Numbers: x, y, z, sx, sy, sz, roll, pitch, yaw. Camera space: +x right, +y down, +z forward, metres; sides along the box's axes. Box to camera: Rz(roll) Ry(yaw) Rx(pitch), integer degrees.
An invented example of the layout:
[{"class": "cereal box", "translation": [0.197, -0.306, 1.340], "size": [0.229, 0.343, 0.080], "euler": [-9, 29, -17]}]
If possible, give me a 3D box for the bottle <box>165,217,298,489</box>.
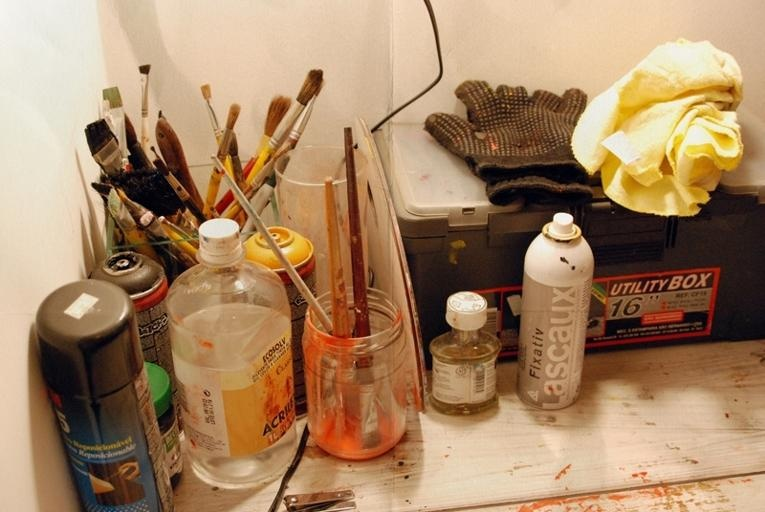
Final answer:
[{"class": "bottle", "translation": [-0.204, 0.169, 0.874], "size": [0.169, 0.305, 0.133], "euler": [-8, 28, -8]}]
